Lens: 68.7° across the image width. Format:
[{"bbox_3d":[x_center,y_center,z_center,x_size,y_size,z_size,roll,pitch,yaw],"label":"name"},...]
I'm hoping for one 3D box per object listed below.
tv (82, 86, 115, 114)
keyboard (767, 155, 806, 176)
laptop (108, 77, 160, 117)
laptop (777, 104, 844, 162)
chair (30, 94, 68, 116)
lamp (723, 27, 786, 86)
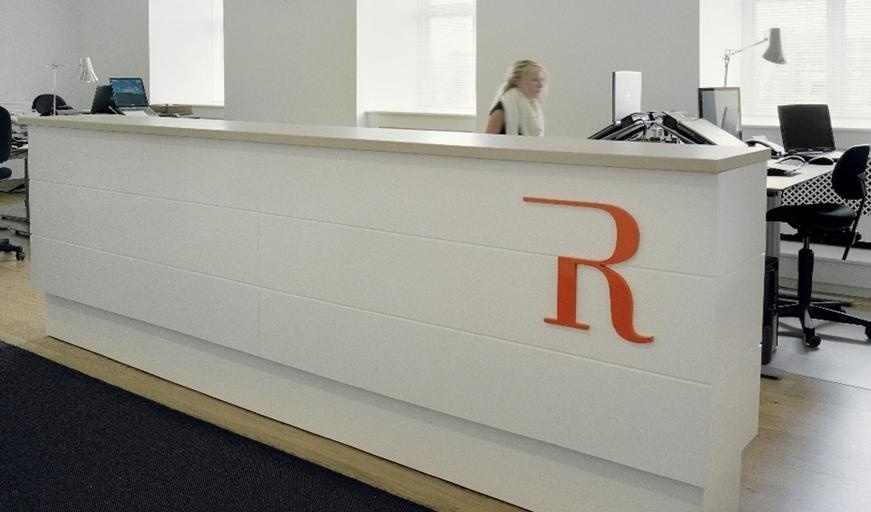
[{"bbox_3d":[-3.539,-1.655,6.758,0.226,0.281,0.369,-8,17,-25],"label":"tv"},{"bbox_3d":[2.700,-0.679,4.888,0.238,0.075,0.356,13,23,35],"label":"keyboard"},{"bbox_3d":[-3.277,-1.697,6.839,0.372,0.369,0.547,-7,16,-22],"label":"laptop"},{"bbox_3d":[3.304,-1.066,5.625,0.816,0.533,0.108,-7,-2,-29],"label":"laptop"},{"bbox_3d":[-5.198,-2.031,8.555,0.352,0.260,1.902,-10,17,-30],"label":"chair"},{"bbox_3d":[3.213,-1.998,6.445,0.564,0.541,0.860,6,16,24],"label":"lamp"}]
